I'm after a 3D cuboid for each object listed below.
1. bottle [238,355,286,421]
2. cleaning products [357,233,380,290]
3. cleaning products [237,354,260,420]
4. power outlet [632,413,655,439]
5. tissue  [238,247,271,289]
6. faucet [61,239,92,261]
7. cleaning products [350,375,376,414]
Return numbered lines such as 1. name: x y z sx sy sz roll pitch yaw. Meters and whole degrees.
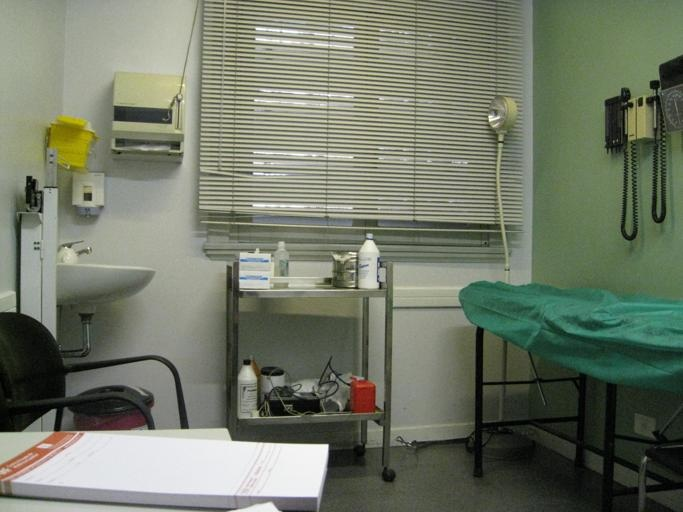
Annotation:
1. bottle: -0.444 0.683 3.407 0.324 0.355 0.184 -3 5 -31
2. cleaning products: 0.139 0.031 3.430 0.107 0.281 0.078 0 10 -3
3. cleaning products: -0.483 0.682 3.370 0.097 0.265 0.186 -2 10 -11
4. power outlet: 1.532 0.866 3.328 0.016 0.148 0.149 1 3 -24
5. tissue : -0.415 0.070 3.293 0.176 0.188 0.174 1 -1 -5
6. faucet: -1.409 -0.022 3.468 0.135 0.129 0.094 3 1 8
7. cleaning products: 0.117 0.738 3.551 0.107 0.201 0.155 -2 17 -6
